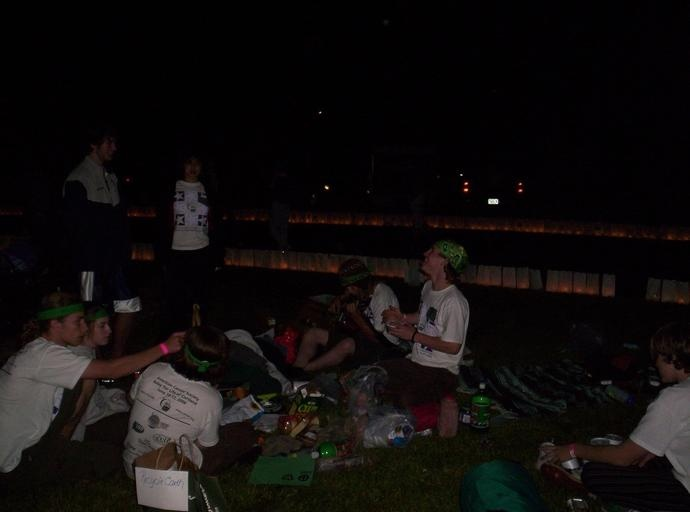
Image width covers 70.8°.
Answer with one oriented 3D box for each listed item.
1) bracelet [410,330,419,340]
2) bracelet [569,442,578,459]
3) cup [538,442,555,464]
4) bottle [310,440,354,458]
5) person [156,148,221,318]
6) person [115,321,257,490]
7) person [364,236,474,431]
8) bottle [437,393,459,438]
[{"bbox_3d":[0.813,0.906,5.608,0.023,0.102,0.070,15,-2,-30],"label":"bracelet"},{"bbox_3d":[2.140,1.826,4.550,0.044,0.118,0.117,-3,17,5],"label":"bracelet"},{"bbox_3d":[1.995,1.940,4.762,0.174,0.247,0.087,-4,-21,27],"label":"cup"},{"bbox_3d":[-0.110,2.027,5.117,0.290,0.140,0.182,2,-14,-6],"label":"bottle"},{"bbox_3d":[-2.234,-0.186,6.936,0.561,2.222,0.595,2,-1,21],"label":"person"},{"bbox_3d":[-1.428,1.363,4.547,1.130,1.321,0.555,3,-1,-24],"label":"person"},{"bbox_3d":[0.856,0.981,5.940,1.172,2.313,1.100,3,10,3],"label":"person"},{"bbox_3d":[1.159,1.792,5.448,0.217,0.416,0.105,0,-10,13],"label":"bottle"}]
